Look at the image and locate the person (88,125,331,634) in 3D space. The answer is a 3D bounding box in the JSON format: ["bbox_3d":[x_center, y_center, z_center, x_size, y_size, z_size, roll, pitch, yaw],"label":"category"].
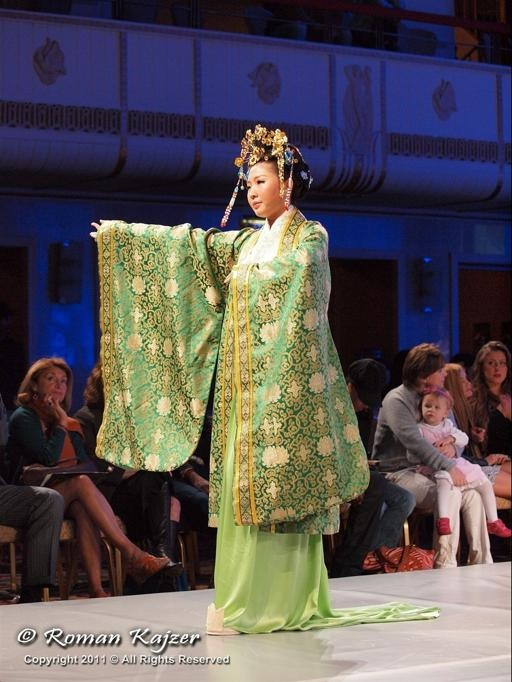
[{"bbox_3d":[-0.097,0.113,3.286,0.721,1.486,0.359,-2,-2,35],"label":"person"}]

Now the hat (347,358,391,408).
[{"bbox_3d":[0.504,0.177,4.849,0.168,0.214,0.121,-16,-23,-33],"label":"hat"}]
